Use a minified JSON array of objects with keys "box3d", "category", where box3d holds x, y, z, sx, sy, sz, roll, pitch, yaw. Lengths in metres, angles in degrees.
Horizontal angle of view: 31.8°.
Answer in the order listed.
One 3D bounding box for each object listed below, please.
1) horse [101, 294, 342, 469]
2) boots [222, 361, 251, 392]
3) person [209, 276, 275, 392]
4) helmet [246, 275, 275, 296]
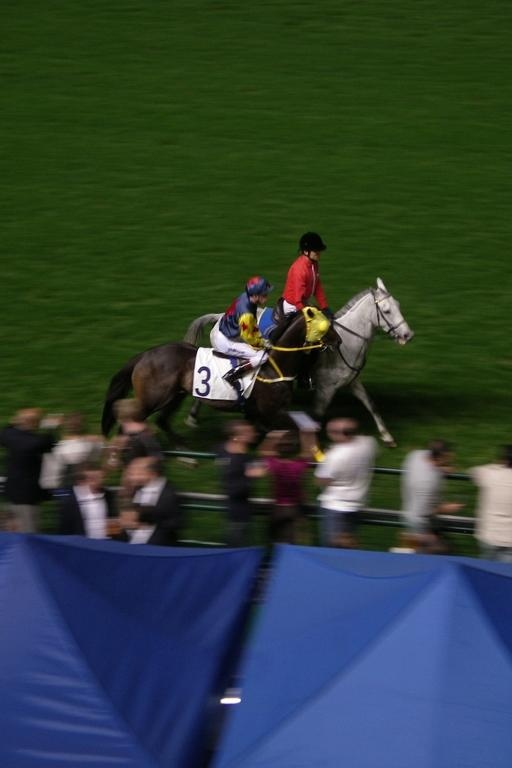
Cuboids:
[{"box3d":[-0.314,-0.018,8.152,2.323,1.134,0.515,-2,5,19],"category":"horse"},{"box3d":[-0.172,-0.080,7.891,0.191,0.255,0.101,41,-10,-15],"category":"boots"},{"box3d":[-0.144,-0.411,7.806,0.490,1.048,0.542,-1,13,-4],"category":"person"},{"box3d":[0.044,-0.820,7.533,0.235,0.143,0.104,-6,-33,0],"category":"helmet"}]
